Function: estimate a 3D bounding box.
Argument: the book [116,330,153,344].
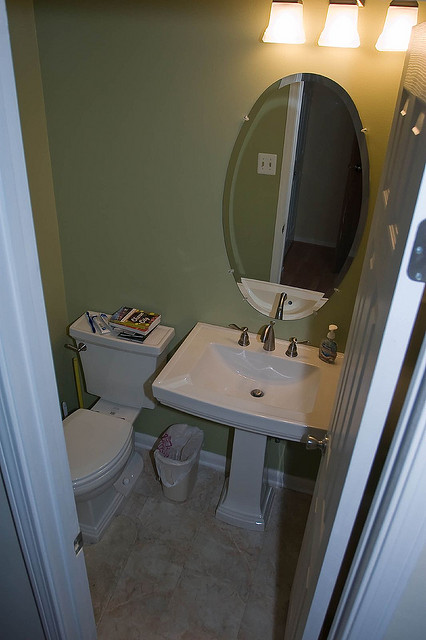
[{"bbox_3d":[-0.353,0.070,2.015,0.164,0.035,0.095,-2,29,-16],"label":"book"}]

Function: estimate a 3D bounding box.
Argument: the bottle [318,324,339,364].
[{"bbox_3d":[0.476,0.096,1.808,0.068,0.169,0.052,28,49,27],"label":"bottle"}]

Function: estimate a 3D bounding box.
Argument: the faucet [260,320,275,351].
[{"bbox_3d":[0.237,0.064,1.876,0.065,0.115,0.061,10,25,9],"label":"faucet"}]

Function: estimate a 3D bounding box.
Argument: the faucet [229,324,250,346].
[{"bbox_3d":[0.128,0.040,1.957,0.068,0.069,0.149,-3,29,-18],"label":"faucet"}]

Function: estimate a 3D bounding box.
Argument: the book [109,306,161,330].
[{"bbox_3d":[-0.364,-0.016,2.047,0.139,0.026,0.114,15,35,15],"label":"book"}]

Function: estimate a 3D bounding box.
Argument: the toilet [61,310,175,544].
[{"bbox_3d":[-0.521,0.531,2.096,0.493,0.873,0.791,8,25,4],"label":"toilet"}]

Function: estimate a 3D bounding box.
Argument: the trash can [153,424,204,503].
[{"bbox_3d":[-0.131,0.755,2.179,0.126,0.204,0.184,4,6,23],"label":"trash can"}]

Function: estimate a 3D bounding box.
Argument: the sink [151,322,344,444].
[{"bbox_3d":[0.172,0.267,1.801,0.696,0.183,0.513,12,33,22],"label":"sink"}]
